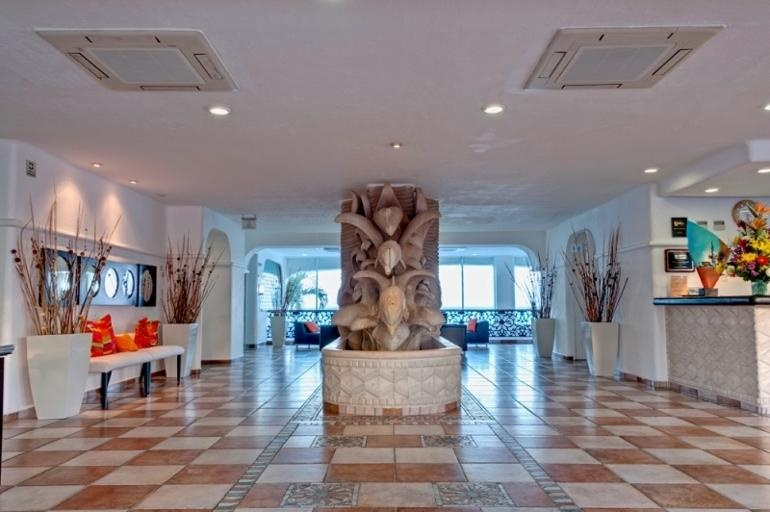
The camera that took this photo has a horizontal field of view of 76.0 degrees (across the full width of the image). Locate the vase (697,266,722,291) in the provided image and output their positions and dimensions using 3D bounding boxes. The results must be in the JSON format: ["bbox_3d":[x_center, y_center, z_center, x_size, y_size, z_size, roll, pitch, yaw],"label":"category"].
[{"bbox_3d":[4.671,0.318,7.171,0.326,0.281,0.341,8,-9,13],"label":"vase"}]

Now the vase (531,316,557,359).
[{"bbox_3d":[3.806,1.897,11.716,0.512,0.901,0.403,-1,-6,6],"label":"vase"}]

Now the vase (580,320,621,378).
[{"bbox_3d":[3.846,1.614,8.728,0.606,0.941,0.497,-2,-6,22],"label":"vase"}]

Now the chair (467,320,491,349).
[{"bbox_3d":[2.852,2.350,15.014,0.794,0.755,0.743,-1,-15,5],"label":"chair"}]

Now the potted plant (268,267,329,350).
[{"bbox_3d":[-2.969,1.770,16.519,2.433,2.617,0.971,4,-8,-42],"label":"potted plant"}]

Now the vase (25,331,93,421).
[{"bbox_3d":[-3.877,1.400,5.838,0.633,0.990,0.265,4,-7,-35],"label":"vase"}]

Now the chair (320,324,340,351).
[{"bbox_3d":[-1.495,2.083,13.194,0.448,0.525,0.768,1,-6,-10],"label":"chair"}]

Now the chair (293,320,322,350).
[{"bbox_3d":[-2.281,2.292,14.904,0.871,0.913,0.951,-1,-5,5],"label":"chair"}]

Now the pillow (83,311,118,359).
[{"bbox_3d":[-4.051,1.115,6.981,0.509,0.480,0.272,-10,-7,34],"label":"pillow"}]

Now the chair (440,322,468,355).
[{"bbox_3d":[1.790,2.095,12.747,0.644,0.720,0.924,-1,-6,5],"label":"chair"}]

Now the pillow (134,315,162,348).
[{"bbox_3d":[-3.938,1.224,8.144,0.214,0.512,0.503,-21,-17,26],"label":"pillow"}]
